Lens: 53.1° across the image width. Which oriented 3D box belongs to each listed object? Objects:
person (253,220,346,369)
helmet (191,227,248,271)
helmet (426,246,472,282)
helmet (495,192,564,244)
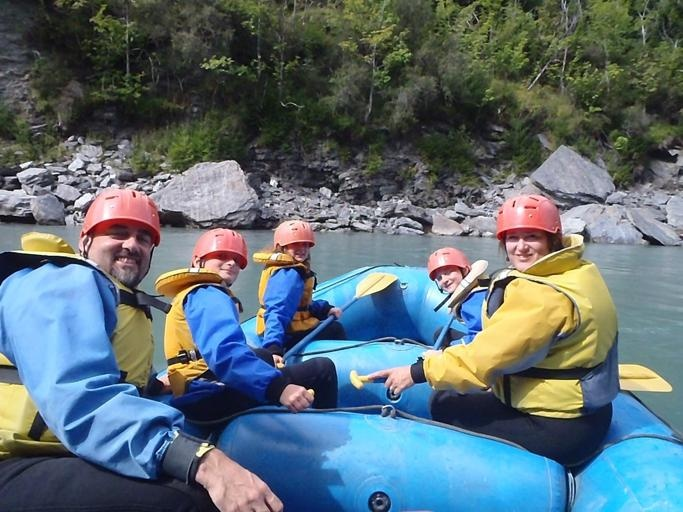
[{"bbox_3d":[-0.352,0.343,5.908,0.666,1.207,1.014,-6,20,-15],"label":"person"},{"bbox_3d":[-0.834,-0.067,4.753,0.331,0.273,0.248,11,-22,3],"label":"helmet"},{"bbox_3d":[0.905,0.067,5.781,0.231,0.327,0.245,-7,-3,15],"label":"helmet"},{"bbox_3d":[1.161,-0.228,4.283,0.331,0.356,0.450,-5,7,41],"label":"helmet"}]
